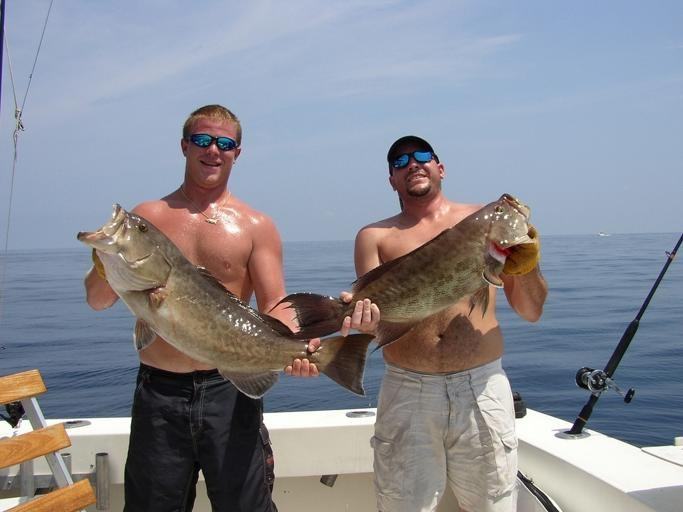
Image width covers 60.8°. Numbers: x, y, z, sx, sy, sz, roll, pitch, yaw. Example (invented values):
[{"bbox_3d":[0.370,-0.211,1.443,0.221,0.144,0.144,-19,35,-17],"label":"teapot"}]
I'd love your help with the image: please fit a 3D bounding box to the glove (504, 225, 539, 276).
[{"bbox_3d":[1.181,-0.047,3.836,0.247,0.308,0.114,-1,19,-42],"label":"glove"}]
